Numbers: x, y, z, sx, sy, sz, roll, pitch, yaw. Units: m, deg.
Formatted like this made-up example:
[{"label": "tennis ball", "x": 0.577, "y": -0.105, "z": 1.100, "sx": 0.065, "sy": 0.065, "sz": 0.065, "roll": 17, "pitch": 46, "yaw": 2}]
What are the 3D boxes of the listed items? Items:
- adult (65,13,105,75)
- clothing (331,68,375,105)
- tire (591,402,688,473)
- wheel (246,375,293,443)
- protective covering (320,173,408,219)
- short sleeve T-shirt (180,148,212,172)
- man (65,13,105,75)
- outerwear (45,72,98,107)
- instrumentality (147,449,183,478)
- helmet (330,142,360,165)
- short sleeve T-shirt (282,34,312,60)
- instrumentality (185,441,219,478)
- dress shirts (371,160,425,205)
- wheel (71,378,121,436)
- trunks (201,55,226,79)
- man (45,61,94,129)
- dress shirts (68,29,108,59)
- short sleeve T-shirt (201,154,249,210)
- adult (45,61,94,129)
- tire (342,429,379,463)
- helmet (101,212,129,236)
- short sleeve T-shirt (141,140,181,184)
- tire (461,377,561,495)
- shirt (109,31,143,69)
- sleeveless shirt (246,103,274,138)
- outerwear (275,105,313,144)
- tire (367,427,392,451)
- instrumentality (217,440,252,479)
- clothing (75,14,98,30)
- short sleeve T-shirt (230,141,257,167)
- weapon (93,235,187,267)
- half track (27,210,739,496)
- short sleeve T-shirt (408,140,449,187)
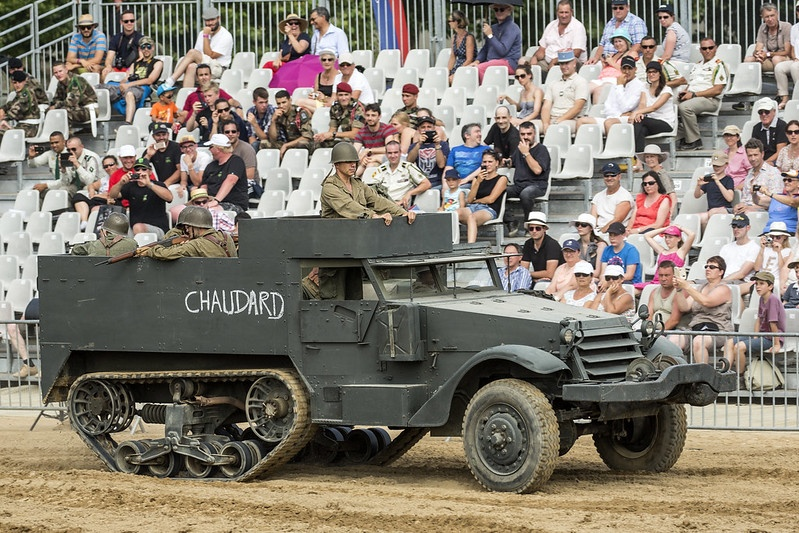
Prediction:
[{"label": "adult", "x": -7.083, "y": -4.932, "z": 46.147, "sx": 0.898, "sy": 1.539, "sz": 1.069, "roll": 1, "pitch": 17, "yaw": 0}, {"label": "clothing", "x": -0.914, "y": -3.713, "z": 42.575, "sx": 0.712, "sy": 0.978, "sz": 1.142, "roll": -5, "pitch": 2, "yaw": 23}, {"label": "tire", "x": 3.951, "y": 2.722, "z": 33.242, "sx": 1.437, "sy": 1.566, "sz": 0.528, "roll": 12, "pitch": -4, "yaw": 36}, {"label": "wheel", "x": -2.033, "y": 2.255, "z": 32.682, "sx": 0.946, "sy": 1.183, "sz": 0.376, "roll": 2, "pitch": 0, "yaw": 38}, {"label": "protective covering", "x": -0.589, "y": -1.075, "z": 33.397, "sx": 1.136, "sy": 0.843, "sz": 1.376, "roll": -6, "pitch": 13, "yaw": -35}, {"label": "short sleeve T-shirt", "x": -4.108, "y": -2.082, "z": 41.226, "sx": 0.693, "sy": 0.413, "sz": 0.710, "roll": 0, "pitch": 45, "yaw": -5}, {"label": "man", "x": -7.043, "y": -5.094, "z": 46.344, "sx": 0.977, "sy": 1.720, "sz": 1.194, "roll": 0, "pitch": 12, "yaw": -1}, {"label": "outerwear", "x": -7.060, "y": -3.777, "z": 44.062, "sx": 0.573, "sy": 0.620, "sz": 0.803, "roll": -6, "pitch": -10, "yaw": 36}, {"label": "instrumentality", "x": -3.765, "y": 3.167, "z": 33.030, "sx": 0.324, "sy": 0.358, "sz": 0.172, "roll": -22, "pitch": -8, "yaw": 20}, {"label": "helmet", "x": -0.836, "y": -1.843, "z": 33.237, "sx": 0.370, "sy": 0.236, "sz": 0.309, "roll": 2, "pitch": 2, "yaw": -33}, {"label": "short sleeve T-shirt", "x": -2.199, "y": -4.792, "z": 44.648, "sx": 0.513, "sy": 0.557, "sz": 0.293, "roll": -2, "pitch": -7, "yaw": 37}, {"label": "instrumentality", "x": -3.160, "y": 3.093, "z": 32.861, "sx": 0.488, "sy": 0.555, "sz": 0.175, "roll": 5, "pitch": 5, "yaw": 33}, {"label": "dress shirts", "x": -0.030, "y": -1.640, "z": 39.240, "sx": 1.085, "sy": 0.968, "sz": 0.443, "roll": -1, "pitch": 23, "yaw": 14}, {"label": "wheel", "x": -4.942, "y": 2.289, "z": 33.504, "sx": 0.649, "sy": 0.718, "sz": 0.265, "roll": 21, "pitch": 2, "yaw": 24}, {"label": "trunks", "x": -4.152, "y": -4.444, "z": 45.101, "sx": 0.525, "sy": 0.442, "sz": 0.212, "roll": 37, "pitch": 32, "yaw": 20}, {"label": "man", "x": -7.124, "y": -3.668, "z": 44.161, "sx": 1.095, "sy": 1.628, "sz": 0.759, "roll": -12, "pitch": 17, "yaw": -31}, {"label": "dress shirts", "x": -7.043, "y": -4.985, "z": 46.347, "sx": 0.913, "sy": 0.899, "sz": 0.568, "roll": -2, "pitch": -5, "yaw": 3}, {"label": "short sleeve T-shirt", "x": -3.452, "y": -1.669, "z": 40.240, "sx": 0.956, "sy": 1.194, "sz": 0.621, "roll": -7, "pitch": -6, "yaw": 31}, {"label": "adult", "x": -7.105, "y": -3.656, "z": 44.142, "sx": 1.076, "sy": 1.650, "sz": 0.853, "roll": -11, "pitch": 16, "yaw": -28}, {"label": "tire", "x": -0.672, "y": 2.948, "z": 33.903, "sx": 0.513, "sy": 0.585, "sz": 0.220, "roll": 0, "pitch": 9, "yaw": 9}, {"label": "helmet", "x": -4.808, "y": -0.660, "z": 34.594, "sx": 0.325, "sy": 0.361, "sz": 0.422, "roll": 9, "pitch": 27, "yaw": -49}, {"label": "short sleeve T-shirt", "x": -4.730, "y": -2.069, "z": 40.806, "sx": 0.691, "sy": 0.955, "sz": 0.523, "roll": -9, "pitch": -7, "yaw": 23}, {"label": "tire", "x": 1.794, "y": 2.632, "z": 31.806, "sx": 1.533, "sy": 2.006, "sz": 0.740, "roll": 1, "pitch": -3, "yaw": 23}, {"label": "shirt", "x": -6.204, "y": -4.918, "z": 46.324, "sx": 0.718, "sy": 0.879, "sz": 0.345, "roll": 4, "pitch": -4, "yaw": 22}, {"label": "sleeveless shirt", "x": -2.883, "y": -2.934, "z": 42.227, "sx": 0.566, "sy": 0.783, "sz": 0.442, "roll": 13, "pitch": 21, "yaw": 3}, {"label": "outerwear", "x": -2.212, "y": -2.894, "z": 41.906, "sx": 0.777, "sy": 0.735, "sz": 0.501, "roll": -7, "pitch": -1, "yaw": 7}, {"label": "tire", "x": -0.305, "y": 2.862, "z": 34.020, "sx": 0.352, "sy": 0.387, "sz": 0.347, "roll": 3, "pitch": -10, "yaw": -44}, {"label": "instrumentality", "x": -2.619, "y": 3.099, "z": 32.712, "sx": 0.423, "sy": 0.472, "sz": 0.224, "roll": 16, "pitch": 3, "yaw": 35}, {"label": "clothing", "x": -7.108, "y": -5.584, "z": 46.567, "sx": 0.429, "sy": 0.226, "sz": 0.529, "roll": -4, "pitch": -9, "yaw": -13}, {"label": "short sleeve T-shirt", "x": -3.100, "y": -2.228, "z": 40.561, "sx": 0.457, "sy": 0.445, "sz": 0.252, "roll": 7, "pitch": 19, "yaw": 38}, {"label": "weapon", "x": -4.242, "y": -0.245, "z": 33.456, "sx": 0.995, "sy": 0.207, "sz": 0.124, "roll": -24, "pitch": -11, "yaw": -2}, {"label": "half track", "x": -0.244, "y": 1.481, "z": 33.178, "sx": 9.457, "sy": 4.292, "sz": 4.849, "roll": -1, "pitch": 0, "yaw": 26}, {"label": "short sleeve T-shirt", "x": 0.576, "y": -2.040, "z": 39.860, "sx": 0.633, "sy": 0.947, "sz": 0.501, "roll": -2, "pitch": 0, "yaw": 4}]
